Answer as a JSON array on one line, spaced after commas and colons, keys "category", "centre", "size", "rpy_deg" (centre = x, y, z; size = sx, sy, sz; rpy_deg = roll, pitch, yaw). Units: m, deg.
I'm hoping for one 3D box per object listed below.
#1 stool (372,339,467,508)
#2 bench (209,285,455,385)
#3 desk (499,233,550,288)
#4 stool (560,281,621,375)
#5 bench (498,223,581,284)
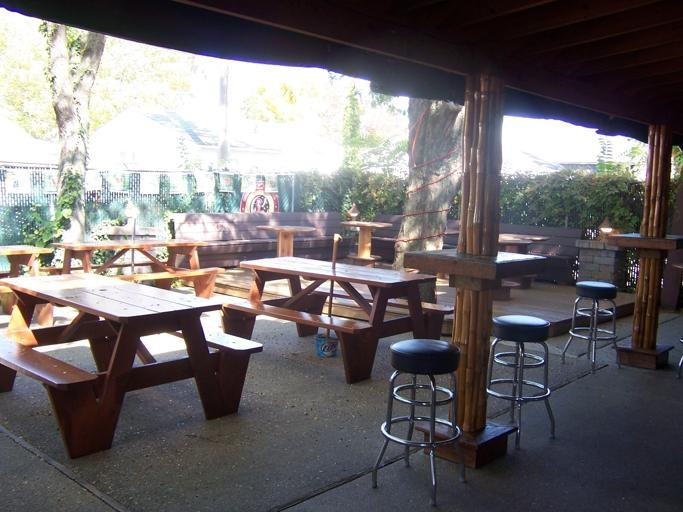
[{"category": "stool", "centre": [0.624, 0.980, 3.810], "size": [0.623, 0.964, 1.666], "rpy_deg": [3, 8, 9]}, {"category": "bench", "centre": [-0.255, 0.748, 5.361], "size": [1.306, 0.361, 1.239], "rpy_deg": [9, 9, 43]}, {"category": "desk", "centre": [3.436, 0.083, 9.513], "size": [0.778, 0.952, 2.071], "rpy_deg": [5, 9, 22]}, {"category": "stool", "centre": [2.858, 0.773, 5.895], "size": [0.588, 0.796, 0.583], "rpy_deg": [11, -12, -38]}, {"category": "bench", "centre": [3.394, -0.038, 8.330], "size": [1.101, 0.741, 0.410], "rpy_deg": [4, 3, 44]}]
